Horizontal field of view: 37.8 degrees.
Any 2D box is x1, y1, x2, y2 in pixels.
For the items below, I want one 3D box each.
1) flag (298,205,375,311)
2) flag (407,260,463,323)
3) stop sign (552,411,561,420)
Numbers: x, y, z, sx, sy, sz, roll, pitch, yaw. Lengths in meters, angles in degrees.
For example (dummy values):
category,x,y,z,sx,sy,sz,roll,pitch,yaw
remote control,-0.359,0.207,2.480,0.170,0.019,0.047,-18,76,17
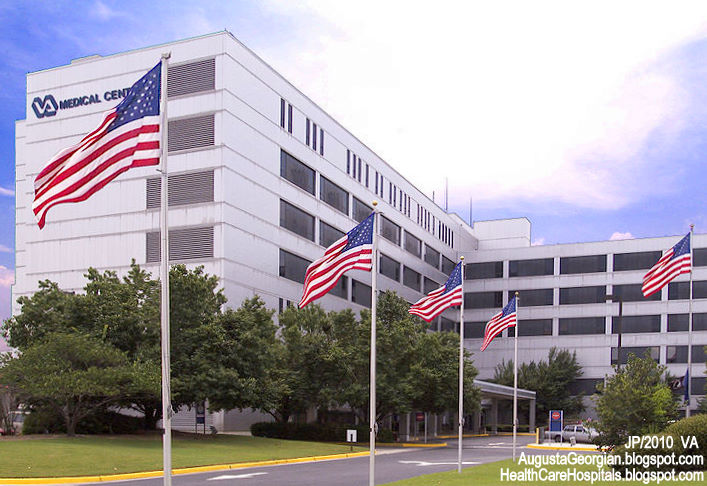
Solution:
category,x,y,z,sx,sy,sz,roll,pitch,yaw
flag,-0.701,0.821,60.546,4.200,4.798,0.814,-7,-19,20
flag,5.535,3.243,67.784,3.738,4.416,2.592,7,-7,-5
stop sign,18.552,15.585,94.186,0.748,0.765,0.759,-1,-8,3
